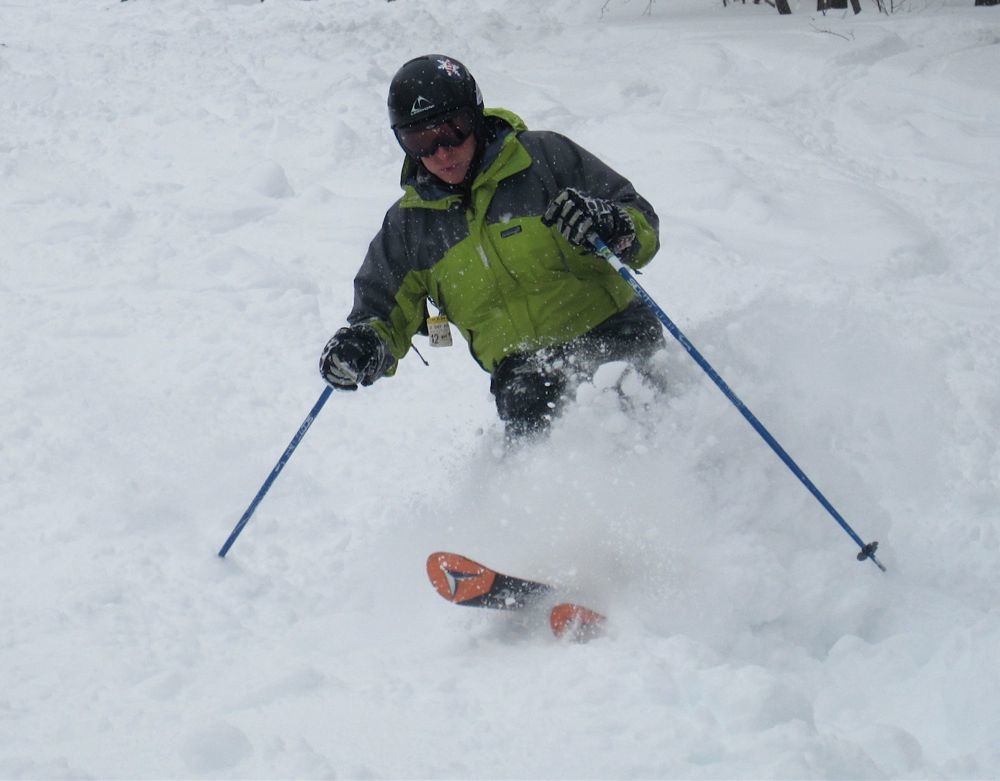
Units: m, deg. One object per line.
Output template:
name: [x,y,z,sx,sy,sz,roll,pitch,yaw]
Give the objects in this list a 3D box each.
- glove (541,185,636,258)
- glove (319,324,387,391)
glove: [0.586,-1.104,8.090,0.580,0.378,0.247,34,-6,-22]
glove: [-1.010,-0.223,8.484,0.425,0.241,0.579,-5,59,-32]
